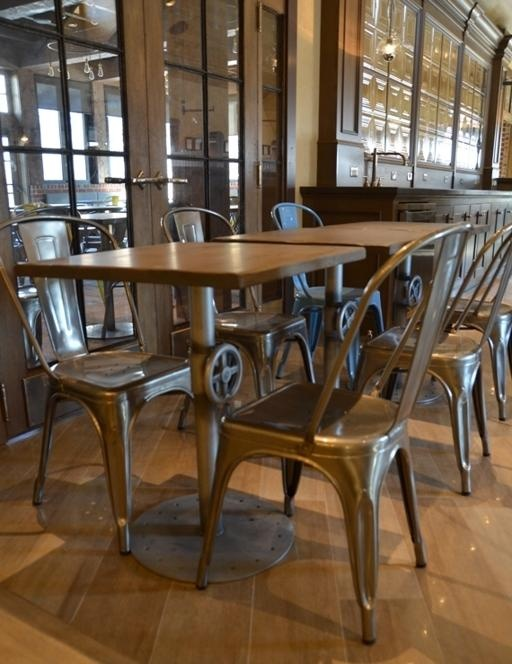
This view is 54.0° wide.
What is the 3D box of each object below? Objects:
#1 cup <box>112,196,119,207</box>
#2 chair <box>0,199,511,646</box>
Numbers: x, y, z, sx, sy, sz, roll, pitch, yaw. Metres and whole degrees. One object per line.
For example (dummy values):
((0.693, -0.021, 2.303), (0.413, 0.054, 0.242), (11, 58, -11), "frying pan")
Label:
((-0.656, -0.611, 2.341), (0.041, 0.058, 0.039), (1, 11, 0), "cup")
((0.062, 0.154, 1.479), (0.977, 1.013, 1.106), (11, 20, 32), "chair")
